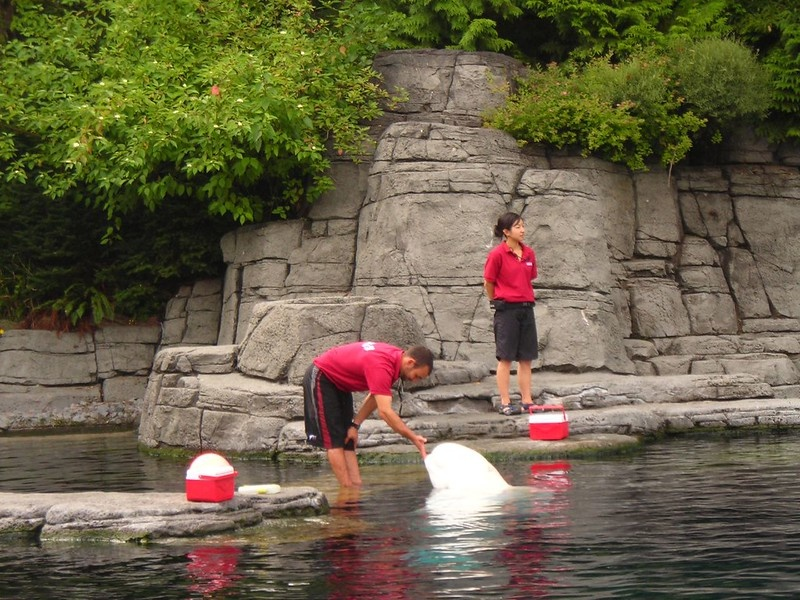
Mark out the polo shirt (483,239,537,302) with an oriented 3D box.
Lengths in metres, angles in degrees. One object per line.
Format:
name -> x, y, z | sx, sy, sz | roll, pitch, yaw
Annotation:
polo shirt -> 1.260, -0.297, 11.741 | 0.689, 0.641, 0.375 | -4, 6, -25

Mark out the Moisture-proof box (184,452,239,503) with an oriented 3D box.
Moisture-proof box -> -1.607, 1.477, 8.945 | 0.438, 0.401, 0.399 | -2, -7, -7

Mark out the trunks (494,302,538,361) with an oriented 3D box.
trunks -> 1.264, 0.353, 11.621 | 0.557, 0.708, 0.394 | 6, -14, -32

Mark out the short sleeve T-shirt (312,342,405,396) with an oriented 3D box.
short sleeve T-shirt -> -0.400, 0.622, 9.972 | 0.896, 0.399, 0.773 | 5, 13, 12

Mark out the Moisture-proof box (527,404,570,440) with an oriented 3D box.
Moisture-proof box -> 1.561, 1.274, 11.186 | 0.374, 0.334, 0.367 | 0, 1, 21
